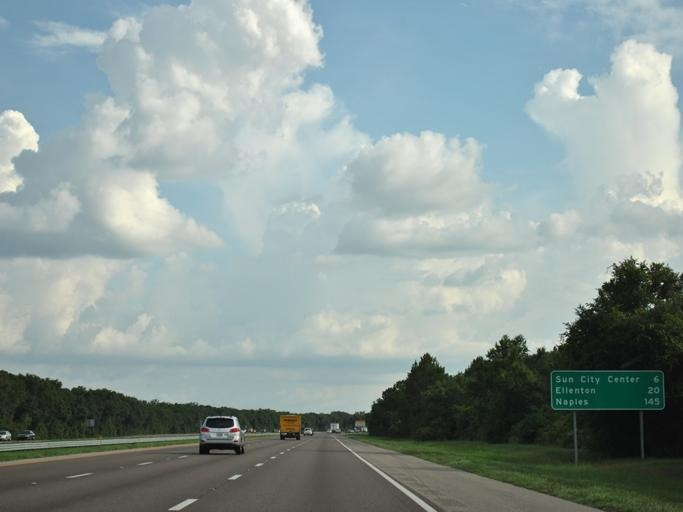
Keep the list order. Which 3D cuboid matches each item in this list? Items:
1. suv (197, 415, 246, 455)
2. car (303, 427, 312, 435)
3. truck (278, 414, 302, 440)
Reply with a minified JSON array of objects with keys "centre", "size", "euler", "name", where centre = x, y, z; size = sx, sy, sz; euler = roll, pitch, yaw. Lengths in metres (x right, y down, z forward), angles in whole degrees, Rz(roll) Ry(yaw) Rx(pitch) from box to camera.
[{"centre":[-7.849,11.881,59.819],"size":[1.714,1.847,3.533],"euler":[0,-7,2],"name":"suv"},{"centre":[-6.453,33.526,169.758],"size":[1.133,1.289,2.865],"euler":[0,-19,-2],"name":"car"},{"centre":[-6.361,21.253,110.485],"size":[2.512,3.516,4.391],"euler":[1,-16,-6],"name":"truck"}]
